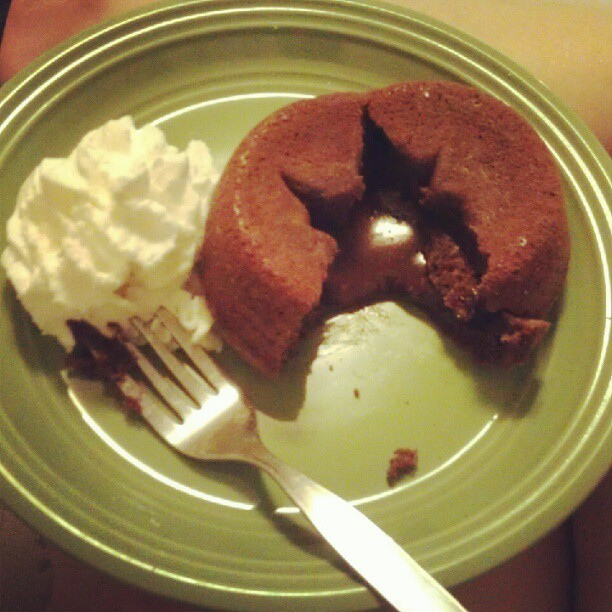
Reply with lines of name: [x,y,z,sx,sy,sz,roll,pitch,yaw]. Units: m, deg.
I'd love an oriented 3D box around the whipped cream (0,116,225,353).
whipped cream: [-0.442,-0.153,2.106,0.483,0.224,0.527,-3,84,-1]

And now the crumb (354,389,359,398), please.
crumb: [0.113,0.196,2.139,0.010,0.004,0.015,-2,79,-8]

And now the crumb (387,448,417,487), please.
crumb: [0.217,0.351,2.061,0.056,0.030,0.078,4,75,-5]

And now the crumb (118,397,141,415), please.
crumb: [-0.392,0.220,2.088,0.043,0.014,0.041,2,96,16]

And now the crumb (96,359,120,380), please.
crumb: [-0.447,0.140,2.098,0.048,0.012,0.044,2,80,-7]

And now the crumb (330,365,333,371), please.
crumb: [0.055,0.139,2.155,0.008,0.003,0.011,-2,80,-2]
